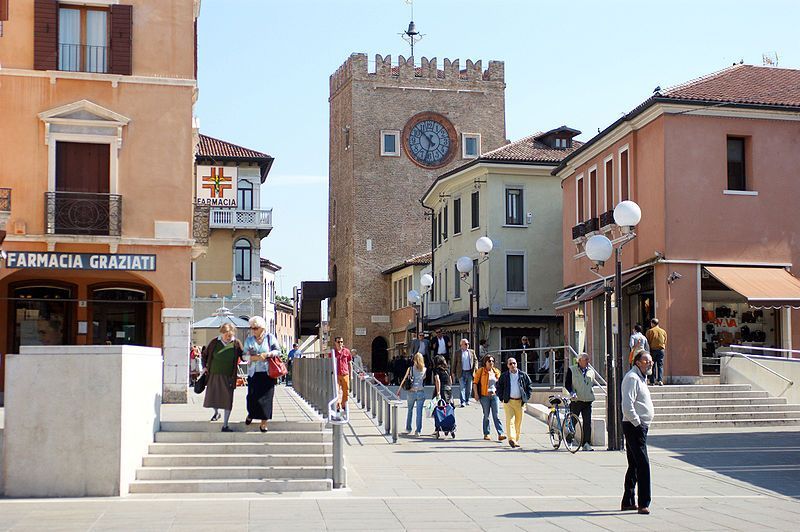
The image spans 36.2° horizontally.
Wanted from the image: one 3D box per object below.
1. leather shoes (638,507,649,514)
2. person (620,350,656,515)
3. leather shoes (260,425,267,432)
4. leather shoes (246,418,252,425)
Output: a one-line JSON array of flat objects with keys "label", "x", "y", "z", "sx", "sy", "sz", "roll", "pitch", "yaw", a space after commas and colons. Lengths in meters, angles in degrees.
[{"label": "leather shoes", "x": 5.285, "y": 5.266, "z": 26.612, "sx": 0.266, "sy": 0.129, "sz": 0.142, "roll": 1, "pitch": -6, "yaw": -3}, {"label": "person", "x": 5.292, "y": 3.678, "z": 27.462, "sx": 0.895, "sy": 3.492, "sz": 1.361, "roll": 2, "pitch": -4, "yaw": 7}, {"label": "leather shoes", "x": -3.387, "y": 3.990, "z": 30.098, "sx": 0.165, "sy": 0.163, "sz": 0.461, "roll": 0, "pitch": 0, "yaw": -7}, {"label": "leather shoes", "x": -3.744, "y": 3.815, "z": 30.181, "sx": 0.175, "sy": 0.191, "sz": 0.232, "roll": 2, "pitch": -6, "yaw": -10}]
